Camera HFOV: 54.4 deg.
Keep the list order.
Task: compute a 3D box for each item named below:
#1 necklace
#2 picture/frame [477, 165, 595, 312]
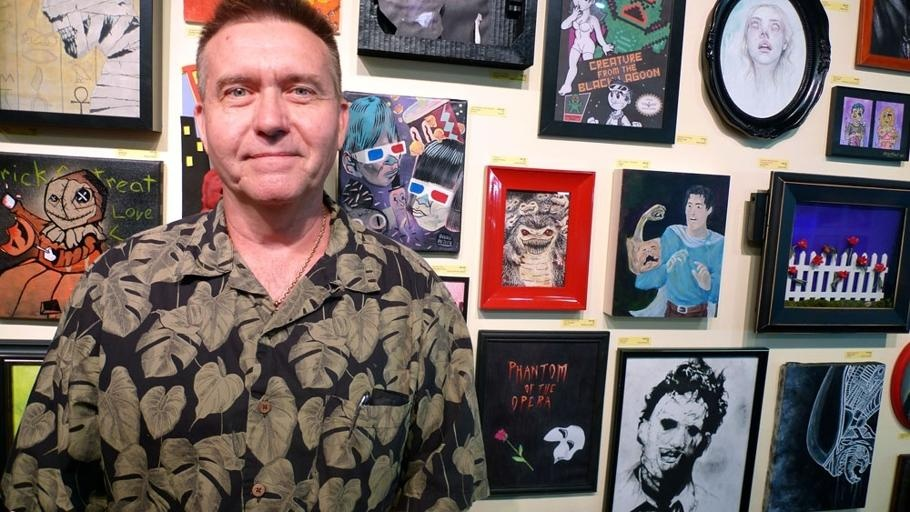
[{"bbox_3d":[-0.516,0.010,3.020,0.177,0.304,0.060,12,-6,29],"label":"necklace"},{"bbox_3d":[0.299,-0.083,3.480,0.541,0.708,0.075,3,3,-13],"label":"picture/frame"}]
